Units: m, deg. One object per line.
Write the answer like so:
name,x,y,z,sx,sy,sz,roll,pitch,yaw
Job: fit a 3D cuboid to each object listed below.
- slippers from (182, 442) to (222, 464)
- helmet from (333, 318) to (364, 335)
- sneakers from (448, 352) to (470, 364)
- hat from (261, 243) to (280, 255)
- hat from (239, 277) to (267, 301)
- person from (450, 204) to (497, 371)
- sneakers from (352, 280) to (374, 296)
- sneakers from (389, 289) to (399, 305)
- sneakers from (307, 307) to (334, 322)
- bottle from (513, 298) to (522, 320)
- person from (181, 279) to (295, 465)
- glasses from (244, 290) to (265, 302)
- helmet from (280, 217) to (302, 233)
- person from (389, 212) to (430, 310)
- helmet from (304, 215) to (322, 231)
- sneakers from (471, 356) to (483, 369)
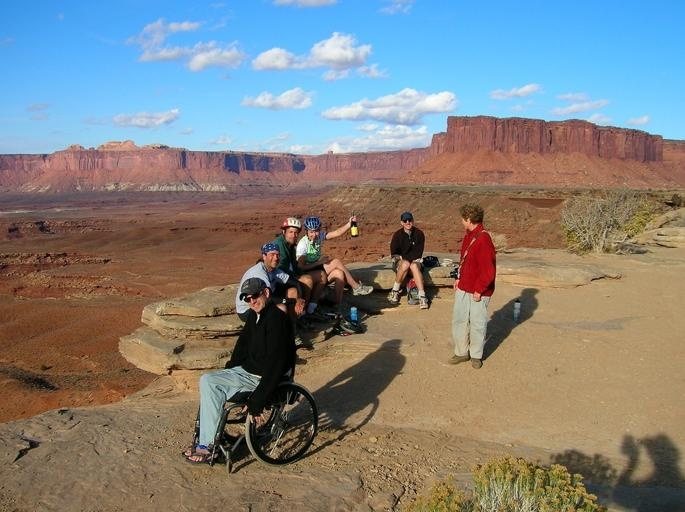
slippers,-1.432,2.009,4.741,0.376,0.103,0.203,9,4,-5
helmet,0.105,1.152,7.604,0.430,0.128,0.225,4,3,1
sneakers,1.671,1.490,6.784,0.323,0.103,0.122,0,5,-13
hat,-0.868,-0.099,5.572,0.217,0.163,0.244,1,-6,-2
hat,-0.914,0.333,4.810,0.238,0.155,0.308,-19,-6,20
person,1.842,0.430,6.593,0.517,2.317,0.556,3,15,12
sneakers,0.414,0.598,8.384,0.437,0.162,0.216,-4,12,-6
sneakers,0.988,0.770,8.873,0.225,0.238,0.288,2,0,-1
sneakers,-0.375,1.022,8.012,0.595,0.191,0.178,-1,4,-6
bottle,3.165,0.939,8.458,0.131,0.358,0.427,5,13,22
person,-1.023,1.154,4.753,0.859,1.848,0.770,4,14,16
glasses,-0.891,0.399,4.763,0.143,0.076,0.189,-9,-18,38
helmet,-0.772,-0.487,7.031,0.318,0.176,0.260,-6,13,-27
person,1.260,0.050,8.769,0.758,1.793,0.722,1,14,6
helmet,-0.510,-0.543,7.662,0.257,0.105,0.327,-2,14,-17
sneakers,1.912,1.527,6.651,0.201,0.151,0.109,1,6,12
